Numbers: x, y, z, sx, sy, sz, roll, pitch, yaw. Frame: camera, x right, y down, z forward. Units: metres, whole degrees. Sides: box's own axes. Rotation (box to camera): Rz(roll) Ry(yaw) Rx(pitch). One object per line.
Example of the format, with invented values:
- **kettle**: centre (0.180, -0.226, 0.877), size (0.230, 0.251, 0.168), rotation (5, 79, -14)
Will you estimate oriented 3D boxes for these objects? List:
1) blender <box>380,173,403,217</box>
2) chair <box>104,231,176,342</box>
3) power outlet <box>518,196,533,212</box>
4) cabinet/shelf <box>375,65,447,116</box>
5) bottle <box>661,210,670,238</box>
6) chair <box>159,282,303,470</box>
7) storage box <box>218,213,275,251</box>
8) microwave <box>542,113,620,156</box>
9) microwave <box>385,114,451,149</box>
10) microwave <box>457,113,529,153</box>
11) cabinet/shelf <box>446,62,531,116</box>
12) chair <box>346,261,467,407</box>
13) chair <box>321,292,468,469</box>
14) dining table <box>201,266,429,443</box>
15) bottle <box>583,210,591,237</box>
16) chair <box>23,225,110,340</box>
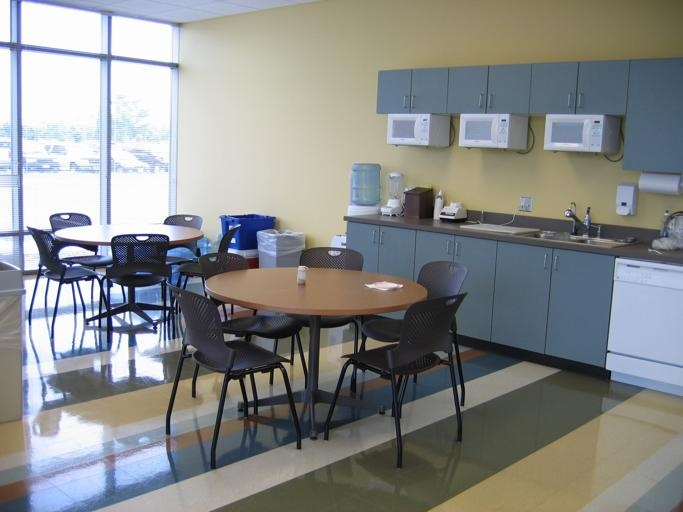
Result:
- **blender**: centre (0.597, -0.725, 6.258), size (0.239, 0.451, 0.648), rotation (3, 14, 5)
- **chair**: centre (-2.117, 0.179, 5.567), size (0.608, 1.019, 0.681), rotation (2, 15, -27)
- **power outlet**: centre (1.895, -0.532, 5.576), size (0.141, 0.141, 0.051), rotation (11, 17, 35)
- **cabinet/shelf**: centre (0.757, -1.749, 5.780), size (0.658, 0.358, 0.234), rotation (7, 10, 39)
- **bottle**: centre (2.848, -0.274, 4.758), size (0.079, 0.225, 0.246), rotation (10, 16, 30)
- **chair**: centre (-0.737, 0.765, 3.661), size (0.825, 1.070, 0.852), rotation (6, 9, 31)
- **storage box**: centre (-1.318, -0.343, 7.686), size (0.676, 0.471, 0.491), rotation (-4, 8, -41)
- **microwave**: centre (2.233, -1.124, 5.033), size (0.555, 0.357, 0.429), rotation (14, 18, 41)
- **microwave**: centre (0.855, -1.309, 5.922), size (0.404, 0.380, 0.626), rotation (-5, 10, -41)
- **microwave**: centre (1.536, -1.234, 5.436), size (0.695, 0.364, 0.370), rotation (5, 14, 11)
- **cabinet/shelf**: centre (1.454, -1.619, 5.292), size (0.569, 0.329, 0.208), rotation (10, 16, 39)
- **chair**: centre (0.493, 0.735, 4.042), size (0.888, 1.098, 0.935), rotation (-5, 11, -15)
- **chair**: centre (0.370, 0.760, 3.761), size (0.887, 1.062, 0.867), rotation (3, 7, 27)
- **dining table**: centre (0.005, 0.535, 3.938), size (1.053, 0.670, 1.062), rotation (-17, 16, -23)
- **bottle**: centre (2.361, -0.326, 5.209), size (0.084, 0.264, 0.138), rotation (8, 16, 23)
- **chair**: centre (-2.856, 0.226, 5.625), size (0.587, 1.005, 0.606), rotation (11, 10, 39)
